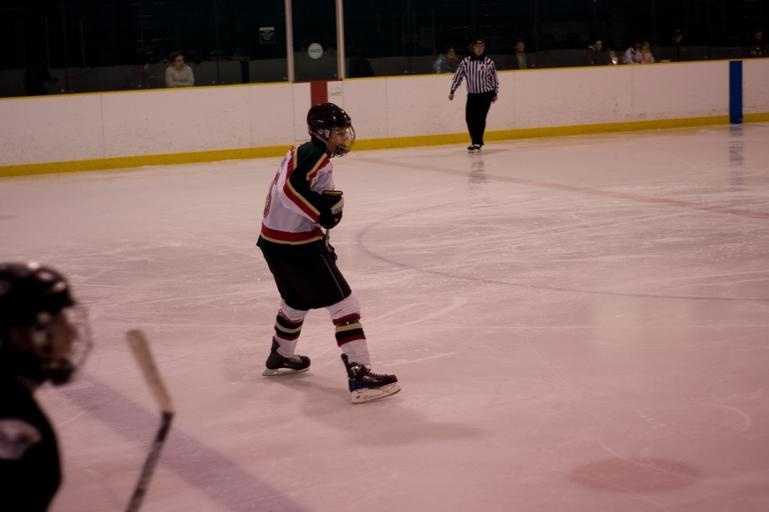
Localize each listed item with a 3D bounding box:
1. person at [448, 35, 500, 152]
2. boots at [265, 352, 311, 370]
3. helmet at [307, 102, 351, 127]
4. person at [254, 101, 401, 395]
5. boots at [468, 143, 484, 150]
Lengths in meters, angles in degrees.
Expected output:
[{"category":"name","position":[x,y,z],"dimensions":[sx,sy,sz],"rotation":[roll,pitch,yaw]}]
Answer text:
[{"category":"person","position":[1.482,-2.662,12.189],"dimensions":[0.766,1.760,0.605],"rotation":[0,14,7]},{"category":"boots","position":[-0.490,0.521,3.791],"dimensions":[0.240,0.089,0.087],"rotation":[-3,12,-18]},{"category":"helmet","position":[-0.260,-0.665,3.493],"dimensions":[0.174,0.123,0.129],"rotation":[-11,16,-5]},{"category":"person","position":[-0.295,-0.036,3.505],"dimensions":[0.758,1.353,0.403],"rotation":[11,19,43]},{"category":"boots","position":[1.503,-1.800,12.218],"dimensions":[0.135,0.097,0.285],"rotation":[-8,-1,2]}]
